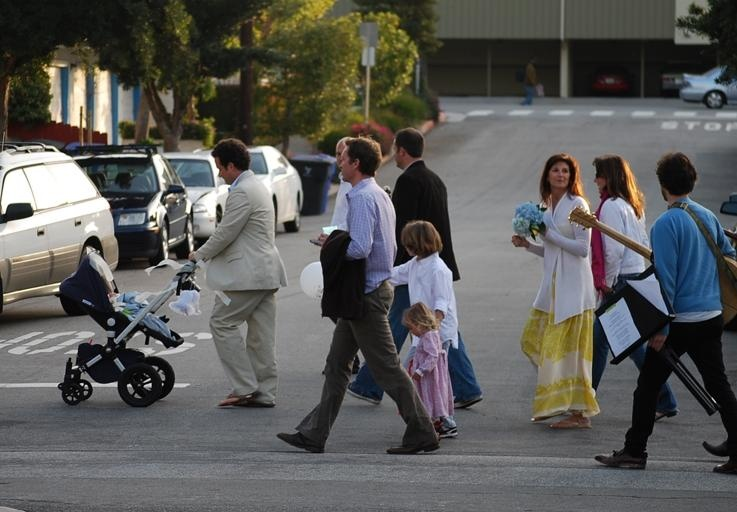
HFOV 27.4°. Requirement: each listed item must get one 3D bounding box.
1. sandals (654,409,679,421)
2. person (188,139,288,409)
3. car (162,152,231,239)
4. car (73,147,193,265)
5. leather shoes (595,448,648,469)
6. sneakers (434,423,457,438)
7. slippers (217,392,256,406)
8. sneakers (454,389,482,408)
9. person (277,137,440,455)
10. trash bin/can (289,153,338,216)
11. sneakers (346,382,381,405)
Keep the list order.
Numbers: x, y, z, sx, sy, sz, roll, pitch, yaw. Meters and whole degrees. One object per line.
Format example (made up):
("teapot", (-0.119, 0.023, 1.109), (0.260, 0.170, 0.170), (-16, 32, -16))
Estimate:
("sandals", (3.424, 1.814, 17.417), (0.385, 0.119, 0.153), (-3, -3, -14))
("person", (-1.509, 0.190, 17.875), (0.942, 3.065, 0.866), (-1, 13, -4))
("car", (-3.375, -1.291, 29.075), (1.235, 1.156, 2.380), (0, -1, 3))
("car", (-4.044, -0.957, 26.519), (1.554, 1.180, 2.391), (-1, -2, 1))
("leather shoes", (2.702, 2.165, 16.178), (0.527, 0.235, 0.210), (4, -5, 9))
("sneakers", (0.850, 1.942, 16.903), (0.283, 0.150, 0.122), (7, 4, -7))
("slippers", (-1.556, 1.669, 17.897), (0.501, 0.217, 0.163), (0, 3, 2))
("sneakers", (1.204, 1.658, 17.785), (0.396, 0.169, 0.144), (-25, -15, 31))
("person", (-0.039, 0.443, 16.458), (1.534, 3.326, 0.839), (0, 13, 1))
("trash bin/can", (-1.231, -1.677, 35.344), (1.263, 1.820, 1.272), (1, 3, 6))
("sneakers", (-0.051, 1.625, 18.023), (0.481, 0.198, 0.194), (26, 1, 1))
